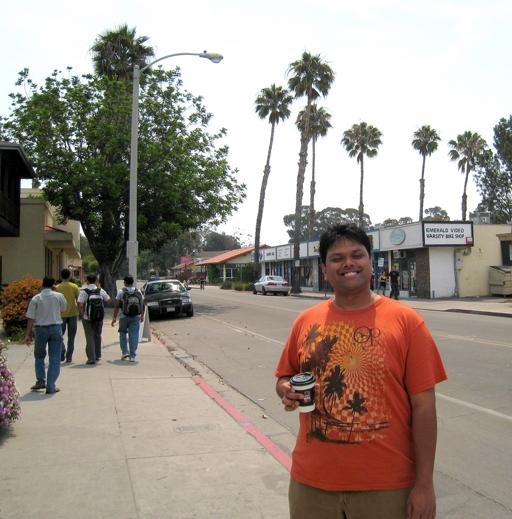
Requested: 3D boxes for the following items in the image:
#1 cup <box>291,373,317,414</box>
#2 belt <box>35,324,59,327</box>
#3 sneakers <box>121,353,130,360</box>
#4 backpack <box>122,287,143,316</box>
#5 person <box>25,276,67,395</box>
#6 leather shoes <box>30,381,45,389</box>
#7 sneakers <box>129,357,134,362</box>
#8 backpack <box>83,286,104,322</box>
[{"bbox_3d":[0.204,0.556,1.939,0.116,0.161,0.128,-10,9,-9],"label":"cup"},{"bbox_3d":[-3.322,1.058,7.181,0.332,0.054,0.049,1,-1,-26],"label":"belt"},{"bbox_3d":[-2.966,2.224,10.246,0.187,0.136,0.170,1,-1,-19],"label":"sneakers"},{"bbox_3d":[-2.798,0.968,10.418,0.554,0.934,0.483,0,-5,-7],"label":"backpack"},{"bbox_3d":[-3.440,1.209,7.388,0.501,1.841,0.505,2,-4,-32],"label":"person"},{"bbox_3d":[-3.481,2.018,7.227,0.228,0.134,0.095,3,-1,-3],"label":"leather shoes"},{"bbox_3d":[-2.797,2.260,10.186,0.126,0.098,0.211,1,-1,-18],"label":"sneakers"},{"bbox_3d":[-3.432,0.932,9.615,0.341,0.740,0.405,-4,19,-17],"label":"backpack"}]
